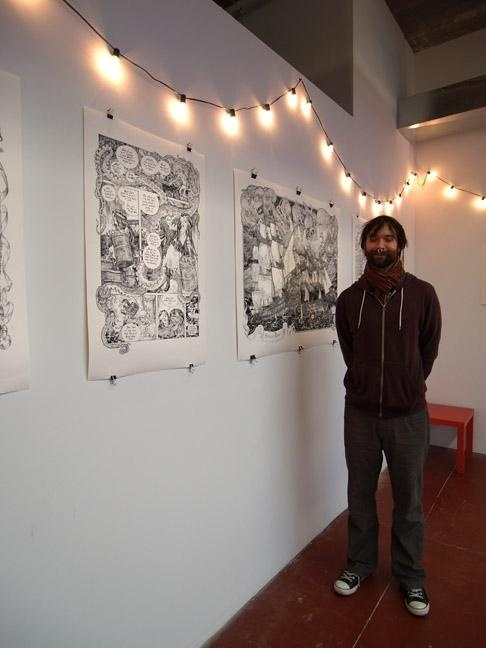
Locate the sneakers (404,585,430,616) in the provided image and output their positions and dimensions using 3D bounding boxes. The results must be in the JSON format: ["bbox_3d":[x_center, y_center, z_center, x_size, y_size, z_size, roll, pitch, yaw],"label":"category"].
[{"bbox_3d":[0.688,1.087,1.791,0.104,0.067,0.140,0,3,11],"label":"sneakers"}]

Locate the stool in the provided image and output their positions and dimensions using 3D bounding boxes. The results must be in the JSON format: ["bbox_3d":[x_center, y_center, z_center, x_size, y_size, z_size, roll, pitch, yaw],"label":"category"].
[{"bbox_3d":[1.538,0.925,3.448,0.435,0.519,0.469,4,16,27],"label":"stool"}]

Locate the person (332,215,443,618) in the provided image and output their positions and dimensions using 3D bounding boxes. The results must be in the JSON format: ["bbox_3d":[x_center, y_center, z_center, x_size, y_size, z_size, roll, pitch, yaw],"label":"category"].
[{"bbox_3d":[0.592,0.325,1.917,0.437,1.581,0.361,1,3,26],"label":"person"}]
